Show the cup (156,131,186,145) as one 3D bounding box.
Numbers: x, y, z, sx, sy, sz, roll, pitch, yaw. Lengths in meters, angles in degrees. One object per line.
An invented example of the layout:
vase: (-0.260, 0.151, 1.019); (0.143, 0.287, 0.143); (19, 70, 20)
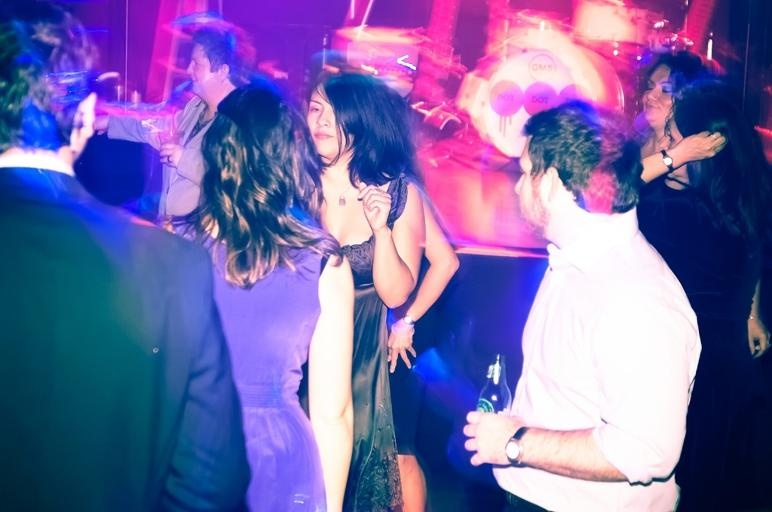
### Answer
cup: (-1.260, -0.696, 3.851); (0.143, 0.066, 0.195); (4, 3, 2)
